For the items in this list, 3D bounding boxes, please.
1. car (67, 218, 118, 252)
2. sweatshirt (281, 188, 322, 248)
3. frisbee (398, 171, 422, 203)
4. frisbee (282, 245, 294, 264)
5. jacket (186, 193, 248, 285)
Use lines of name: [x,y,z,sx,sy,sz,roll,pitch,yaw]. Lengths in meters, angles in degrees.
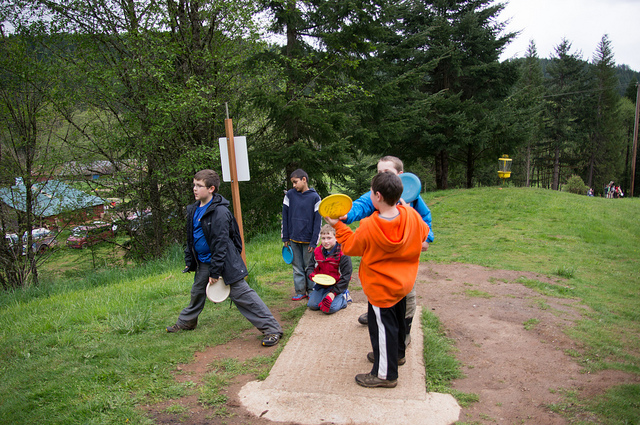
car: [-9.698,0.899,20.965,1.338,1.228,2.351,-1,4,9]
sweatshirt: [-0.441,0.150,12.656,1.014,1.529,0.541,4,4,18]
frisbee: [1.947,-0.543,10.763,0.587,0.605,0.178,-14,-6,33]
frisbee: [-0.808,1.069,12.542,0.292,0.368,0.129,4,10,33]
jacket: [-2.367,0.610,11.402,1.290,2.004,0.667,-3,4,-7]
